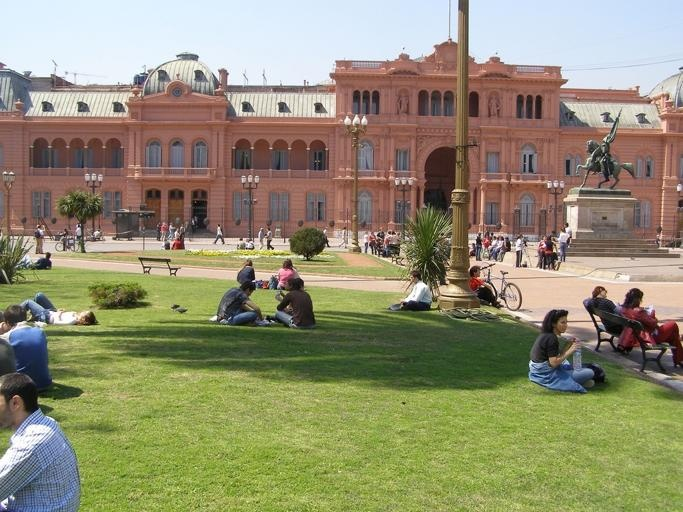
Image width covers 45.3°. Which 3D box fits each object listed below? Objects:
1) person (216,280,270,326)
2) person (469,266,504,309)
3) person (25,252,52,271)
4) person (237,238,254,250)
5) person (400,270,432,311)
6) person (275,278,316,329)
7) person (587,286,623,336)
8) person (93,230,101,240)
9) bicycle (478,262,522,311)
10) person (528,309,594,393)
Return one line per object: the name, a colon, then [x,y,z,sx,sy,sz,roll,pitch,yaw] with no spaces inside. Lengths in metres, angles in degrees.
person: [-1.990,0.994,17.297,1.019,0.871,1.264,11,8,32]
person: [3.682,0.763,20.930,0.825,0.957,1.219,5,9,11]
person: [-11.094,0.222,29.798,0.750,0.401,0.471,25,19,28]
person: [-5.918,-0.733,49.959,0.815,0.779,0.772,-21,26,-34]
person: [1.827,0.845,19.567,0.759,0.879,0.726,1,9,30]
person: [-0.926,0.951,16.695,0.459,1.017,0.816,-5,12,-40]
person: [5.369,1.153,16.667,0.409,0.625,0.943,-11,7,-3]
person: [-17.329,-1.413,57.558,0.483,0.422,0.708,0,13,-5]
bicycle: [4.696,0.917,24.203,0.685,0.816,1.373,-15,17,-9]
person: [3.399,1.440,12.744,0.930,1.181,1.257,-1,4,-3]
